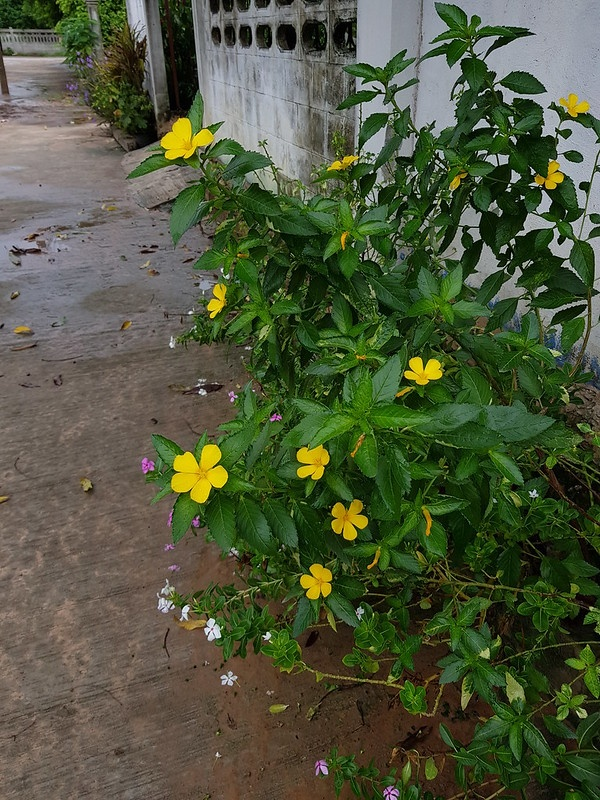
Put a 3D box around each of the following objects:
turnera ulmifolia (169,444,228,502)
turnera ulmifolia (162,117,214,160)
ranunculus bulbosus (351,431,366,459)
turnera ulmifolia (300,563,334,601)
[{"bbox_3d":[-0.141,0.111,0.712,0.073,0.082,0.067,12,28,30],"label":"turnera ulmifolia"},{"bbox_3d":[-0.197,-0.455,0.875,0.082,0.067,0.177,-7,24,-9],"label":"turnera ulmifolia"},{"bbox_3d":[0.079,0.062,0.678,0.011,0.038,0.011,26,-6,34],"label":"ranunculus bulbosus"},{"bbox_3d":[0.036,0.360,0.988,0.083,0.074,0.032,12,1,-18],"label":"turnera ulmifolia"}]
